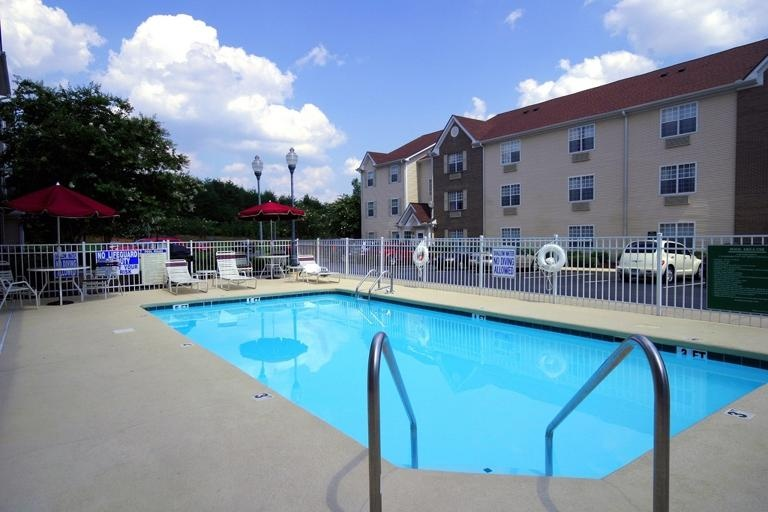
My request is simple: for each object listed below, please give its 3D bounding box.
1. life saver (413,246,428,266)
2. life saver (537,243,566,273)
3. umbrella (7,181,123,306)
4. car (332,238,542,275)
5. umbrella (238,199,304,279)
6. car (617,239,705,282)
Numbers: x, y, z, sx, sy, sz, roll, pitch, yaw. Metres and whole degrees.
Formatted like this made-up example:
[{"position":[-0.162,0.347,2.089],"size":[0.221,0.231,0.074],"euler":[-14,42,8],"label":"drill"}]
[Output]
[{"position":[1.426,0.016,19.674],"size":[0.686,1.012,0.335],"euler":[3,-2,42],"label":"life saver"},{"position":[5.496,0.072,16.616],"size":[0.700,0.974,0.947],"euler":[0,0,-12],"label":"life saver"},{"position":[-10.754,-0.441,17.524],"size":[3.534,4.384,3.730],"euler":[0,3,-38],"label":"umbrella"},{"position":[1.296,0.036,20.761],"size":[8.065,1.527,1.466],"euler":[0,0,45],"label":"car"},{"position":[-5.060,-0.911,23.153],"size":[2.752,3.280,2.777],"euler":[-3,8,-31],"label":"umbrella"},{"position":[9.919,0.239,18.075],"size":[3.404,1.231,1.502],"euler":[-5,5,-38],"label":"car"}]
